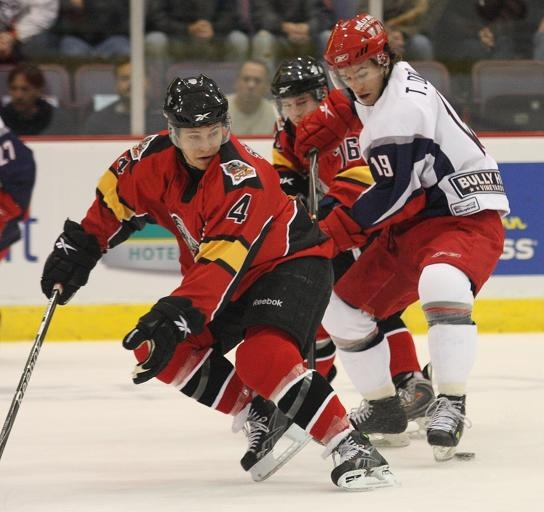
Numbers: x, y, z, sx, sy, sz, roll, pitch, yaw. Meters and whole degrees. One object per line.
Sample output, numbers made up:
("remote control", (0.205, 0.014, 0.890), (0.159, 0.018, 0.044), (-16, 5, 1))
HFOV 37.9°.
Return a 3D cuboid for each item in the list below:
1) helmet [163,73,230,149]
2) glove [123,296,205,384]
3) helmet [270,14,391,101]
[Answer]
("helmet", (-0.222, -0.446, 2.402), (0.180, 0.228, 0.193), (-4, 4, -27))
("glove", (-0.295, 0.233, 2.181), (0.237, 0.242, 0.087), (-2, 4, -15))
("helmet", (0.303, -0.670, 2.874), (0.328, 0.313, 0.330), (-23, -7, 13))
